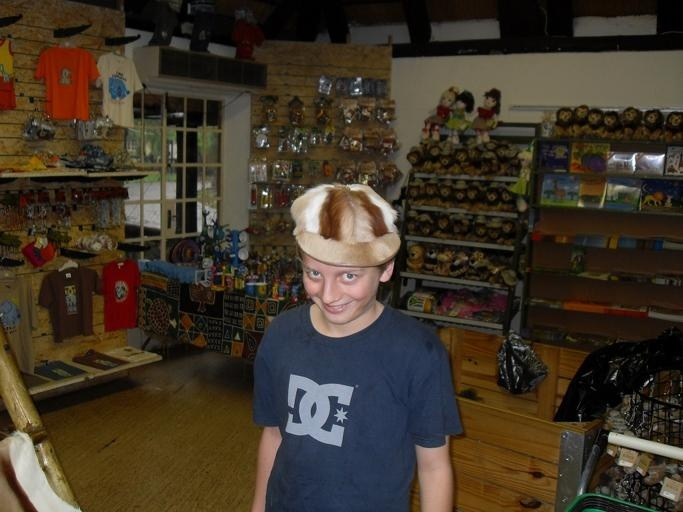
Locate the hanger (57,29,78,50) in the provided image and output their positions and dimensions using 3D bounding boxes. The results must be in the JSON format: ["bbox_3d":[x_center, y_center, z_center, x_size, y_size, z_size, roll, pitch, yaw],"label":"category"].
[{"bbox_3d":[-2.712,-2.156,5.251,0.235,0.185,0.089,-4,16,2],"label":"hanger"}]

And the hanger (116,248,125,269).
[{"bbox_3d":[-2.487,0.031,5.927,0.134,0.197,0.077,-2,-15,-17],"label":"hanger"}]

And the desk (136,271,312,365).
[{"bbox_3d":[-1.279,0.505,6.053,1.224,0.543,1.249,8,-1,43],"label":"desk"}]

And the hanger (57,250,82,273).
[{"bbox_3d":[-2.849,0.055,5.489,0.009,0.166,0.195,-3,13,29],"label":"hanger"}]
